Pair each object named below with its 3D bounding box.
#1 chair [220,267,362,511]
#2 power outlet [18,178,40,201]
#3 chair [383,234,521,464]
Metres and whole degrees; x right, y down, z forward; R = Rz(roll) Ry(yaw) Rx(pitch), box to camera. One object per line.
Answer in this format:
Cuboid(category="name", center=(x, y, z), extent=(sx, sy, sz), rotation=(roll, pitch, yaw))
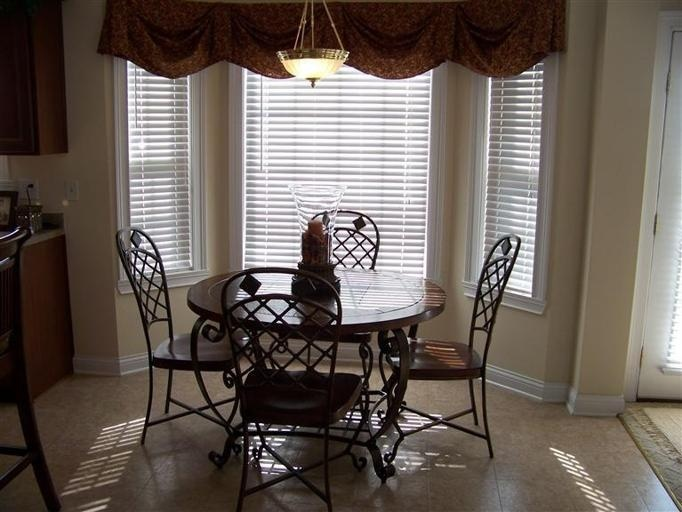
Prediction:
Cuboid(category="chair", center=(-0.300, 0.575, 3.375), extent=(0.769, 1.341, 1.430), rotation=(0, 12, -9))
Cuboid(category="power outlet", center=(-2.371, -0.509, 4.258), extent=(0.154, 0.168, 0.041), rotation=(5, 13, 13))
Cuboid(category="chair", center=(0.619, 0.543, 3.486), extent=(0.859, 1.377, 0.723), rotation=(2, 7, 18))
